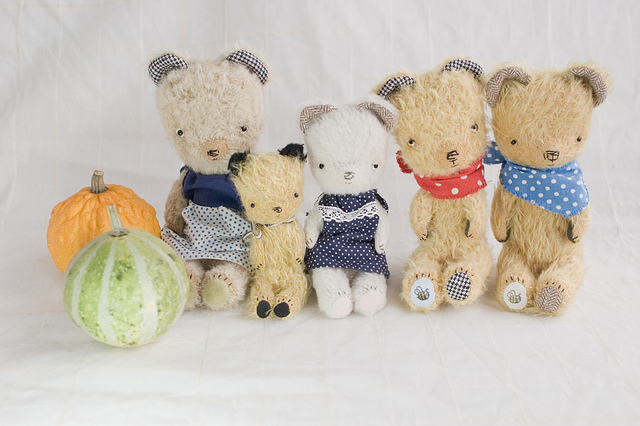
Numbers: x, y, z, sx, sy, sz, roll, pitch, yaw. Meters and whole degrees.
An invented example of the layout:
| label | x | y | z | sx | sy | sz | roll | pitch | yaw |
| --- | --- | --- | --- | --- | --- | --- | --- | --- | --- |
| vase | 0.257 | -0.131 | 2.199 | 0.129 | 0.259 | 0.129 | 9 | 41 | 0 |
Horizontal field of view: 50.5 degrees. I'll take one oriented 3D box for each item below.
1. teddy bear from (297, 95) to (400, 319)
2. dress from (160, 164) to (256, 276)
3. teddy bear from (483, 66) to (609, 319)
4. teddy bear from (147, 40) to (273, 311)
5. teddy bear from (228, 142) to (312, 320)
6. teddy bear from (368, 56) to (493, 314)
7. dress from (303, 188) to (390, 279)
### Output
| label | x | y | z | sx | sy | sz | roll | pitch | yaw |
| --- | --- | --- | --- | --- | --- | --- | --- | --- | --- |
| teddy bear | 0.115 | -0.051 | 2.985 | 0.465 | 0.868 | 0.711 | 0 | 26 | -2 |
| dress | -0.469 | 0.033 | 3.050 | 0.367 | 0.488 | 0.349 | 2 | 23 | 5 |
| teddy bear | 0.934 | -0.098 | 2.898 | 0.488 | 0.968 | 0.467 | 4 | 27 | 19 |
| teddy bear | -0.498 | -0.158 | 3.018 | 0.558 | 1.094 | 0.639 | 3 | 17 | 2 |
| teddy bear | -0.211 | 0.087 | 2.955 | 0.323 | 0.720 | 0.415 | -3 | 9 | 7 |
| teddy bear | 0.515 | -0.107 | 2.982 | 0.497 | 1.014 | 0.578 | 0 | 17 | 19 |
| dress | 0.133 | 0.090 | 3.053 | 0.391 | 0.428 | 0.279 | -2 | -9 | 3 |
